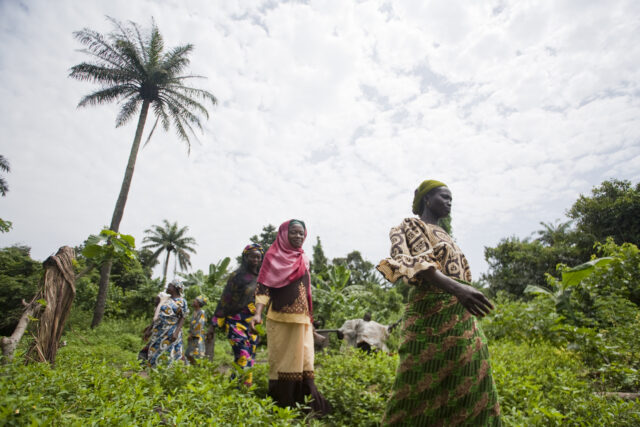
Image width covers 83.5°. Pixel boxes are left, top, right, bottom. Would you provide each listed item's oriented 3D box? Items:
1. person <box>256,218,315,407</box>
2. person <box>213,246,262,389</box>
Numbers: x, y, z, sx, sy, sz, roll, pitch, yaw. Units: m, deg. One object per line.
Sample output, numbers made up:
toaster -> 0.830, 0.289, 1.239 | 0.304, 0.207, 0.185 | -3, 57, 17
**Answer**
person -> -0.445, 1.282, 4.886 | 0.831, 2.472, 0.431 | 1, -26, -3
person -> -1.278, 1.451, 5.627 | 0.670, 1.889, 0.404 | 1, -26, -2
